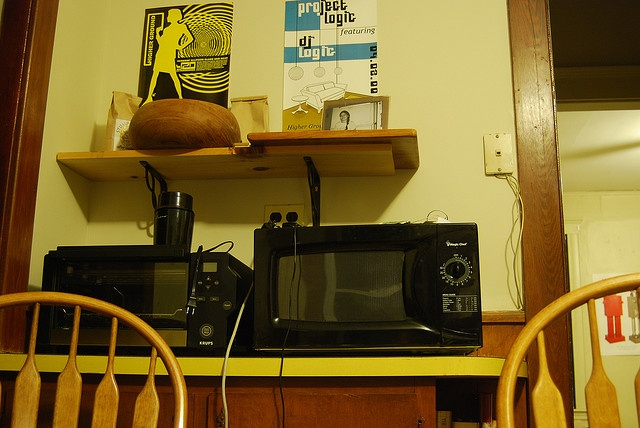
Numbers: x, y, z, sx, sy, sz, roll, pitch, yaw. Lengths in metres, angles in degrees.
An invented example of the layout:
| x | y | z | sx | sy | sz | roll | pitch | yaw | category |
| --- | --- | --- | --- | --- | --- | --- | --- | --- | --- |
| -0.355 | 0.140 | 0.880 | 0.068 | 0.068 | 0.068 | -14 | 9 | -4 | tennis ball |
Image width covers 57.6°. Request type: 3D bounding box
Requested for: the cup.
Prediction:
| x | y | z | sx | sy | sz | roll | pitch | yaw | category |
| --- | --- | --- | --- | --- | --- | --- | --- | --- | --- |
| -0.595 | -0.020 | 2.296 | 0.187 | 0.348 | 0.135 | 2 | -16 | -1 | cup |
